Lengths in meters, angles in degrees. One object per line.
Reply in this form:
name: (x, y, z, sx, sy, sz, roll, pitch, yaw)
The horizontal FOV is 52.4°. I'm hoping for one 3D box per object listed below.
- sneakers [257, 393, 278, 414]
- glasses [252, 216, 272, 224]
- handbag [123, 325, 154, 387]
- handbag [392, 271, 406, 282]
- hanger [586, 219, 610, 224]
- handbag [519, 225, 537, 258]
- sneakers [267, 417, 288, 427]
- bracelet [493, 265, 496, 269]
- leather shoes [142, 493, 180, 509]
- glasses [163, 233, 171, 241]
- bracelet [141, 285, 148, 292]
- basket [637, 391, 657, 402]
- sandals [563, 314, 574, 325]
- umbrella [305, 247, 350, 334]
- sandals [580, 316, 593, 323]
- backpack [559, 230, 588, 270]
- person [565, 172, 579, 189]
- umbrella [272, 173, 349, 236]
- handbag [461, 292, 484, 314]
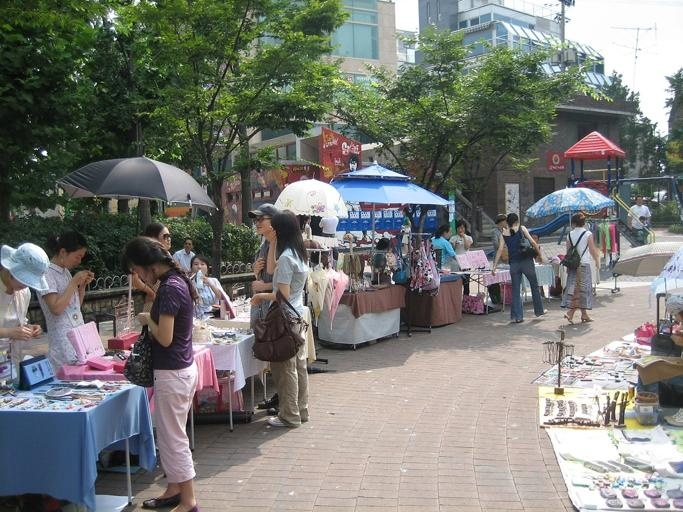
sneakers: (-0.887, 1.821, 8.437, 0.128, 0.149, 0.366, -1, -6, 12)
glasses: (-0.915, -0.418, 8.110, 0.192, 0.064, 0.208, -3, -7, 21)
handbag: (-1.821, 0.923, 6.231, 0.245, 0.564, 0.162, -3, 9, -18)
handbag: (1.010, 0.345, 12.153, 0.229, 0.293, 0.163, 0, 0, 3)
hanger: (6.673, -0.891, 17.954, 0.381, 0.096, 0.432, 3, 1, 37)
handbag: (3.499, -0.260, 12.886, 0.324, 0.562, 0.618, 2, 9, 16)
sneakers: (-0.718, 1.930, 7.995, 0.174, 0.079, 0.108, 10, -2, 15)
bracelet: (2.994, 0.227, 13.537, 0.040, 0.049, 0.209, 6, 6, 17)
leather shoes: (-1.643, 2.282, 6.465, 0.368, 0.156, 0.137, 2, -12, 1)
glasses: (-2.096, -0.227, 8.295, 0.024, 0.085, 0.078, -1, -2, 40)
bracelet: (-2.144, 0.367, 7.615, 0.068, 0.054, 0.070, -1, -5, 20)
basket: (3.375, 1.561, 7.636, 0.239, 0.073, 0.158, 1, 9, 11)
sandals: (4.148, 1.166, 12.647, 0.103, 0.140, 0.317, 8, -9, 37)
umbrella: (-0.378, 0.405, 10.509, 0.851, 1.367, 0.901, -2, 4, -25)
sandals: (4.546, 1.165, 12.792, 0.092, 0.128, 0.281, 1, 5, 37)
backpack: (4.154, -0.089, 12.349, 0.399, 0.717, 0.333, 3, 10, 22)
person: (7.656, -2.445, 22.658, 0.464, 0.649, 1.475, 2, 7, 21)
umbrella: (-0.422, -0.853, 11.286, 0.840, 0.612, 0.871, 5, -7, 8)
handbag: (2.719, 0.993, 14.196, 0.368, 0.244, 0.382, -2, -2, 27)
